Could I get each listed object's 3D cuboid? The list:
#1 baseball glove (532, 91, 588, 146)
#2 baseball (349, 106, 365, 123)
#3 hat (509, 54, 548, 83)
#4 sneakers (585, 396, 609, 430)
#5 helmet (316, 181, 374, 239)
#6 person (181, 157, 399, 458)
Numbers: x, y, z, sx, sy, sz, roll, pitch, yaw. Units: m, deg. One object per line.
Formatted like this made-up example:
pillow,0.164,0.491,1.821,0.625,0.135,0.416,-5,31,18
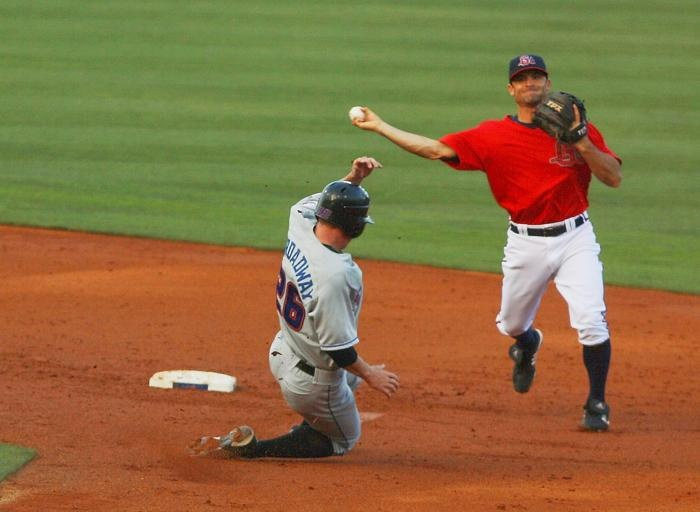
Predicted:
baseball glove,2.149,-1.375,13.820,0.528,0.514,0.250,3,7,7
baseball,0.085,-1.440,13.976,0.189,0.171,0.089,0,0,14
hat,1.842,-1.928,14.195,0.418,0.269,0.637,-3,12,6
sneakers,2.526,1.656,13.946,0.195,0.235,0.364,3,7,12
helmet,-0.005,-0.467,13.541,0.661,0.482,0.446,13,14,-19
person,-0.313,0.684,13.445,1.515,2.788,0.486,5,8,17
